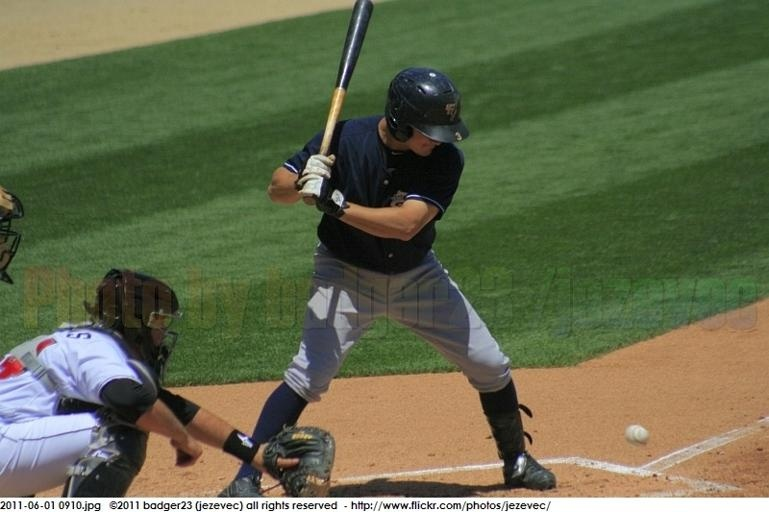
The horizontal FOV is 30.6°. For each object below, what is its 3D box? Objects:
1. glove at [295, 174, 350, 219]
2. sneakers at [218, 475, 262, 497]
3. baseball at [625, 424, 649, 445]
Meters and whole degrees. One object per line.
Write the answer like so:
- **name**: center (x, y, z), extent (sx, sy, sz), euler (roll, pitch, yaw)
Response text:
- **glove**: center (-0.557, -0.549, 12.824), extent (0.420, 0.375, 0.145), euler (-3, 6, -7)
- **sneakers**: center (-1.306, 2.107, 12.839), extent (0.253, 0.105, 0.250), euler (-6, -1, 22)
- **baseball**: center (2.519, 1.759, 14.001), extent (0.217, 0.172, 0.193), euler (0, 6, 21)
